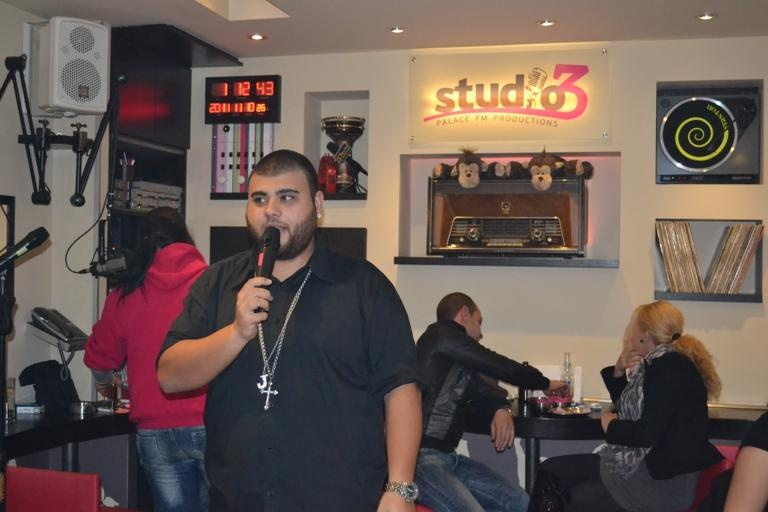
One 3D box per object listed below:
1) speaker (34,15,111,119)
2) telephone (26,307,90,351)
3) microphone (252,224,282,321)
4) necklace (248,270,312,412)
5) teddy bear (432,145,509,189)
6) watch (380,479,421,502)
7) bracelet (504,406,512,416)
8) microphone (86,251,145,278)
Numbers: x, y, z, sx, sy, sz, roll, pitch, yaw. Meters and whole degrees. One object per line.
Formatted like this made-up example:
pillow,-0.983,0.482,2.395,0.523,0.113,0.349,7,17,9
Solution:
speaker,-2.106,-1.245,5.080,0.525,0.620,0.358,2,5,-10
telephone,-2.214,0.467,5.231,0.428,0.154,0.249,35,19,9
microphone,-0.494,0.045,3.215,0.102,0.336,0.286,2,5,-10
necklace,-0.468,0.371,3.227,0.152,0.476,0.035,7,-27,2
teddy bear,0.660,-0.670,5.875,0.589,0.306,0.237,3,5,1
watch,0.084,0.943,3.111,0.101,0.059,0.092,1,-8,32
bracelet,0.803,1.002,5.015,0.046,0.025,0.075,2,42,-28
microphone,-1.694,0.060,4.787,0.332,0.142,0.239,-14,-8,25
